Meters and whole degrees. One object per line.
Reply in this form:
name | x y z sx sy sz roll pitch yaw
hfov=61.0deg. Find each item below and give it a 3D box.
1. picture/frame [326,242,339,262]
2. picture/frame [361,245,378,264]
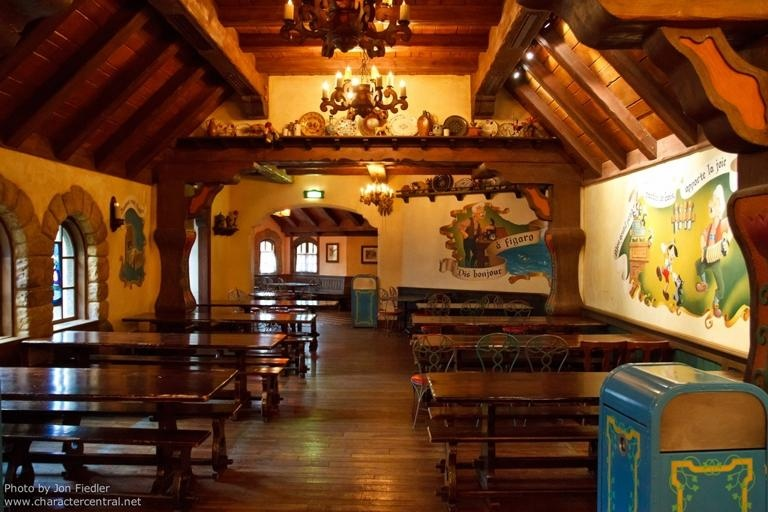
picture/frame | -1.542 -0.117 19.436 0.577 0.594 0.049 -3 -7 42
picture/frame | -0.418 -0.047 18.653 0.545 0.527 0.038 0 -5 9
